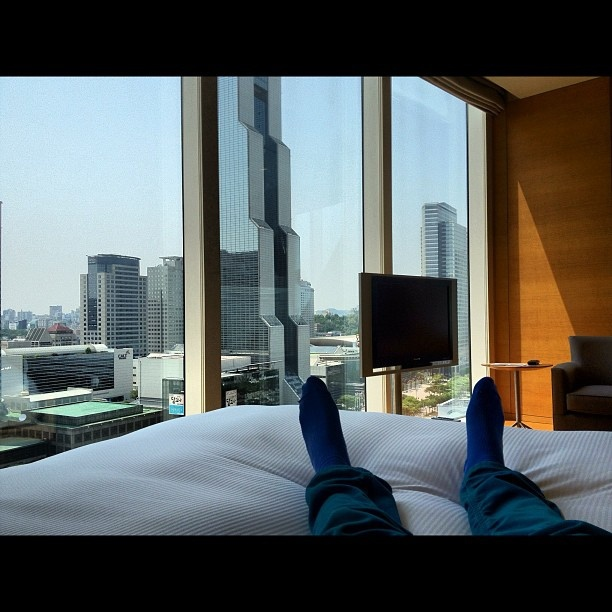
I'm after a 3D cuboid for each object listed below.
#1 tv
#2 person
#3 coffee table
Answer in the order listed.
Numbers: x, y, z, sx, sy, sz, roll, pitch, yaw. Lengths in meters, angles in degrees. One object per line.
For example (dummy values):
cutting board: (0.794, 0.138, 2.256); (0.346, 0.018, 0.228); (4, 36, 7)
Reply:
tv: (0.517, 0.090, 3.065); (0.041, 0.427, 0.624); (-3, -2, 45)
person: (0.364, 0.334, 1.446); (0.538, 0.267, 0.797); (0, -3, 6)
coffee table: (1.349, 0.584, 3.786); (0.402, 0.418, 0.404); (1, -9, 4)
